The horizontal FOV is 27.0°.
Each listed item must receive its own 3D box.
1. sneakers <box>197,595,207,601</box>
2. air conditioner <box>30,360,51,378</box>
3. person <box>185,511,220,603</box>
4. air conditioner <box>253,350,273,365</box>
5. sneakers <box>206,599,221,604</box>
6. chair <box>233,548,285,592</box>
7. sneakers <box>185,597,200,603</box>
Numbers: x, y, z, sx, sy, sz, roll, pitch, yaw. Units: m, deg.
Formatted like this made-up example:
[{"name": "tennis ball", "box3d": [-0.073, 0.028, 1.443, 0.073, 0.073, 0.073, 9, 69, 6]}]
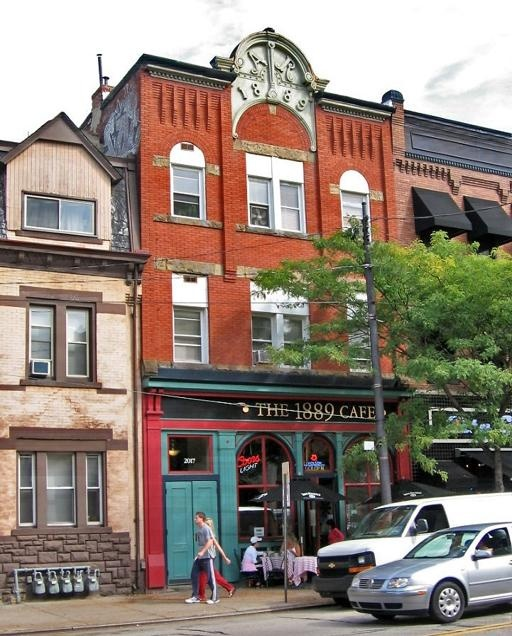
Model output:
[{"name": "sneakers", "box3d": [-1.062, 5.554, 21.193, 0.119, 0.118, 0.324, 5, -14, -21]}, {"name": "air conditioner", "box3d": [-4.835, 1.097, 23.833, 0.394, 0.281, 0.208, 7, -15, -39]}, {"name": "person", "box3d": [-1.054, 4.692, 20.898, 0.568, 1.779, 1.047, -2, -11, -12]}, {"name": "air conditioner", "box3d": [0.190, 0.968, 27.382, 0.437, 0.344, 0.414, 3, -7, -26]}, {"name": "sneakers", "box3d": [-0.814, 5.509, 20.749, 0.104, 0.105, 0.294, -16, -24, 38]}, {"name": "chair", "box3d": [0.125, 5.948, 25.019, 1.083, 1.487, 0.990, 0, -6, -2]}, {"name": "sneakers", "box3d": [-1.278, 5.549, 21.050, 0.358, 0.129, 0.118, 6, -16, -9]}]
